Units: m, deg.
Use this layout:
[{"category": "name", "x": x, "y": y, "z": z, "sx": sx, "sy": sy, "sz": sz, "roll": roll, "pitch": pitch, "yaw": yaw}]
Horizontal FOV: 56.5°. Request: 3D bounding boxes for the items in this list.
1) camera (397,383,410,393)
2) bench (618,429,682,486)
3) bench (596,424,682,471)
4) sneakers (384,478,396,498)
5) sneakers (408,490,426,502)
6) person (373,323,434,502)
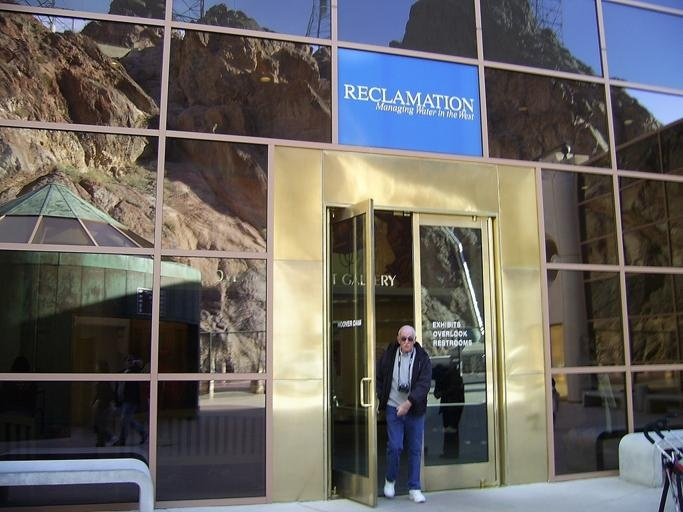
[{"category": "camera", "x": 0.821, "y": 1.742, "z": 8.346, "sx": 0.113, "sy": 0.122, "sz": 0.115, "roll": -2, "pitch": 2, "yaw": -13}, {"category": "bench", "x": 4.155, "y": 2.741, "z": 8.549, "sx": 0.882, "sy": 0.665, "sz": 0.637, "roll": 7, "pitch": -20, "yaw": -25}, {"category": "bench", "x": 4.118, "y": 2.697, "z": 8.845, "sx": 0.905, "sy": 0.503, "sz": 0.667, "roll": 2, "pitch": -13, "yaw": -14}, {"category": "sneakers", "x": 0.628, "y": 3.094, "z": 8.429, "sx": 0.138, "sy": 0.254, "sz": 0.252, "roll": -1, "pitch": -10, "yaw": 0}, {"category": "sneakers", "x": 0.977, "y": 3.142, "z": 8.315, "sx": 0.098, "sy": 0.123, "sz": 0.282, "roll": 3, "pitch": -18, "yaw": -11}, {"category": "person", "x": 0.825, "y": 2.072, "z": 8.375, "sx": 0.719, "sy": 2.263, "sz": 0.494, "roll": -2, "pitch": -9, "yaw": 4}]
